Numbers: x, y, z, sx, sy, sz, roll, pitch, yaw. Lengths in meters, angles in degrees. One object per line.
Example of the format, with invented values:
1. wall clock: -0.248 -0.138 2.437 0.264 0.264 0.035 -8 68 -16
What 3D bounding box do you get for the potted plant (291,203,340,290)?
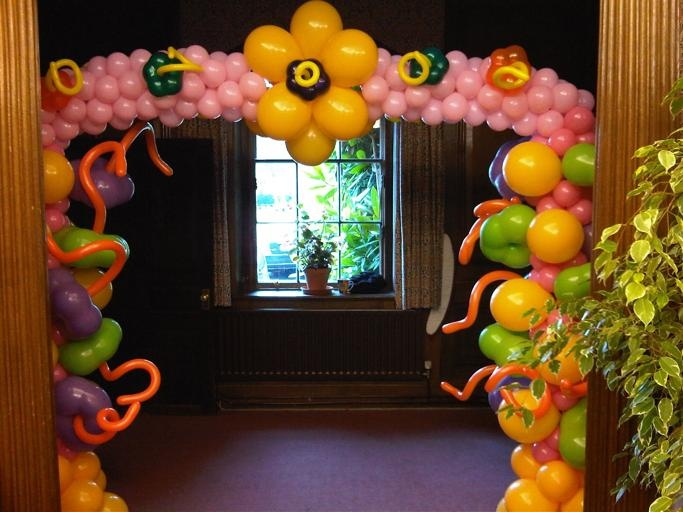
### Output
1. potted plant: -0.176 0.035 5.383 0.255 0.508 0.299 -1 -5 23
